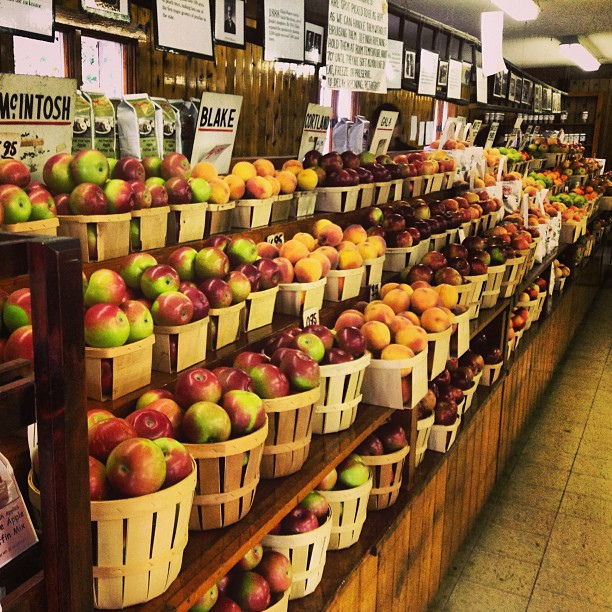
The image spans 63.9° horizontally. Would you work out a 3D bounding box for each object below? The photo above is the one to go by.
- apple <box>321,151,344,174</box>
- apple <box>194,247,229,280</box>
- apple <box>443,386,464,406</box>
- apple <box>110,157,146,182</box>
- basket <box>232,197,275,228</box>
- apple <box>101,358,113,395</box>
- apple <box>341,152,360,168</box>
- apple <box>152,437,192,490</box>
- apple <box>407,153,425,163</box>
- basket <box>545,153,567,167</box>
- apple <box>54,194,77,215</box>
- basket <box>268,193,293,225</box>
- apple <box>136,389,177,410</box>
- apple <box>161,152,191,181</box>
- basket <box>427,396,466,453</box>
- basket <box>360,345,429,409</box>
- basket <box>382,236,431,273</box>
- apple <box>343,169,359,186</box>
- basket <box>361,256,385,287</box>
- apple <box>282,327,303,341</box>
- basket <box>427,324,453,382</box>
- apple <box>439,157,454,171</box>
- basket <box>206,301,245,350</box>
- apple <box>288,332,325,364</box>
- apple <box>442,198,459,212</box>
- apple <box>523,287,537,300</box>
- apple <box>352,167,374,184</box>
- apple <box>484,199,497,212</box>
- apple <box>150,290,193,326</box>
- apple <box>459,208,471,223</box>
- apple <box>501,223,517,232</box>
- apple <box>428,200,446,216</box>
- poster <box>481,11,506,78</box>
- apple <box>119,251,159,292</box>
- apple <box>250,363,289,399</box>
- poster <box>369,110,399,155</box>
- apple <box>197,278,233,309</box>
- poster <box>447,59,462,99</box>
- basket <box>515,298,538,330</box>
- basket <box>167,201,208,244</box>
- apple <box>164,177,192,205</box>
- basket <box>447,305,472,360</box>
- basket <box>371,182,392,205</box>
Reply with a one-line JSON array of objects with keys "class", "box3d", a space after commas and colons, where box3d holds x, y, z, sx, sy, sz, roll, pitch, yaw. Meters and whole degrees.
[{"class": "apple", "box3d": [0.118, -0.719, 2.447, 0.099, 0.125, 0.104, -2, -21, -7]}, {"class": "apple", "box3d": [-0.284, -0.139, 1.565, 0.092, 0.100, 0.099, 1, 15, 33]}, {"class": "apple", "box3d": [0.764, 0.470, 2.577, 0.118, 0.115, 0.064, 4, -27, -27]}, {"class": "apple", "box3d": [-0.523, -0.414, 1.458, 0.082, 0.085, 0.100, 13, 13, -1]}, {"class": "basket", "box3d": [-0.213, -0.389, 1.970, 0.111, 0.082, 0.158, 8, 16, 26]}, {"class": "apple", "box3d": [-0.457, 0.163, 1.139, 0.028, 0.093, 0.016, 3, 13, 16]}, {"class": "apple", "box3d": [0.232, -0.772, 2.535, 0.128, 0.081, 0.055, -11, 17, -37]}, {"class": "apple", "box3d": [-0.230, 0.281, 0.887, 0.071, 0.073, 0.073, 4, 43, -8]}, {"class": "apple", "box3d": [0.741, -1.025, 3.311, 0.119, 0.070, 0.179, 2, 14, 12]}, {"class": "basket", "box3d": [3.467, -2.102, 6.889, 0.249, 0.191, 0.076, -3, 13, -9]}, {"class": "apple", "box3d": [-0.622, -0.269, 1.290, 0.053, 0.063, 0.052, -10, 8, -22]}, {"class": "basket", "box3d": [-0.109, -0.430, 2.106, 0.092, 0.088, 0.138, 15, 24, 30]}, {"class": "apple", "box3d": [-0.354, 0.214, 1.171, 0.058, 0.062, 0.071, -4, 4, 32]}, {"class": "apple", "box3d": [-0.434, -0.487, 1.701, 0.093, 0.097, 0.092, -8, -19, -30]}, {"class": "basket", "box3d": [0.702, 0.605, 2.475, 0.168, 0.145, 0.188, 5, 10, 24]}, {"class": "basket", "box3d": [0.337, 0.239, 1.870, 0.241, 0.155, 0.231, -6, 3, -41]}, {"class": "basket", "box3d": [0.547, -0.302, 2.684, 0.177, 0.097, 0.243, 6, 12, 31]}, {"class": "apple", "box3d": [0.228, -0.651, 2.442, 0.077, 0.097, 0.083, -1, 9, 8]}, {"class": "basket", "box3d": [0.311, -0.176, 2.309, 0.126, 0.108, 0.136, 9, 12, 38]}, {"class": "apple", "box3d": [-0.051, 0.091, 1.650, 0.038, 0.044, 0.040, -3, 1, 16]}, {"class": "basket", "box3d": [0.583, 0.218, 2.168, 0.093, 0.273, 0.200, 3, 14, 17]}, {"class": "apple", "box3d": [1.020, -1.058, 3.565, 0.078, 0.100, 0.167, 6, 15, 26]}, {"class": "basket", "box3d": [-0.242, 0.054, 1.524, 0.119, 0.099, 0.132, 7, 11, 37]}, {"class": "apple", "box3d": [0.015, 0.125, 1.567, 0.089, 0.094, 0.092, -6, -39, 31]}, {"class": "apple", "box3d": [0.971, -0.690, 3.314, 0.093, 0.099, 0.103, -4, 40, 8]}, {"class": "apple", "box3d": [1.874, -0.119, 4.123, 0.071, 0.070, 0.073, 15, 21, -26]}, {"class": "apple", "box3d": [0.304, -0.693, 2.593, 0.087, 0.092, 0.093, 18, 30, 27]}, {"class": "apple", "box3d": [1.412, -0.792, 3.767, 0.049, 0.091, 0.136, 11, 18, 41]}, {"class": "apple", "box3d": [-0.354, 0.003, 1.301, 0.087, 0.094, 0.095, 12, 27, -6]}, {"class": "apple", "box3d": [1.060, -0.627, 3.307, 0.090, 0.087, 0.093, -1, -2, 12]}, {"class": "apple", "box3d": [1.526, -0.612, 3.692, 0.090, 0.052, 0.097, 0, 10, 7]}, {"class": "apple", "box3d": [0.854, -0.646, 3.143, 0.088, 0.086, 0.263, 9, 17, 34]}, {"class": "poster", "box3d": [1.709, -2.471, 4.491, 0.212, 0.643, 0.502, 4, 14, 19]}, {"class": "apple", "box3d": [-0.475, -0.111, 1.425, 0.100, 0.103, 0.101, -21, 10, -23]}, {"class": "apple", "box3d": [-0.104, 0.214, 1.326, 0.083, 0.089, 0.087, 39, 24, -38]}, {"class": "poster", "box3d": [0.521, -1.191, 3.274, 0.133, 0.295, 0.437, 4, 14, 19]}, {"class": "apple", "box3d": [-0.270, -0.058, 1.521, 0.089, 0.095, 0.095, -17, 44, -37]}, {"class": "poster", "box3d": [1.541, -2.429, 5.135, 0.047, 0.452, 0.354, 11, 22, 36]}, {"class": "basket", "box3d": [1.842, 0.046, 4.206, 0.244, 0.224, 0.264, 0, 9, 1]}, {"class": "basket", "box3d": [-0.417, -0.295, 1.657, 0.118, 0.130, 0.175, 10, 17, 29]}, {"class": "apple", "box3d": [-0.393, -0.387, 1.601, 0.083, 0.109, 0.088, -3, 19, 3]}, {"class": "basket", "box3d": [0.777, 0.156, 2.502, 0.096, 0.313, 0.363, 3, 14, 18]}, {"class": "basket", "box3d": [0.422, -0.638, 2.748, 0.116, 0.103, 0.131, 3, 7, 0]}]
